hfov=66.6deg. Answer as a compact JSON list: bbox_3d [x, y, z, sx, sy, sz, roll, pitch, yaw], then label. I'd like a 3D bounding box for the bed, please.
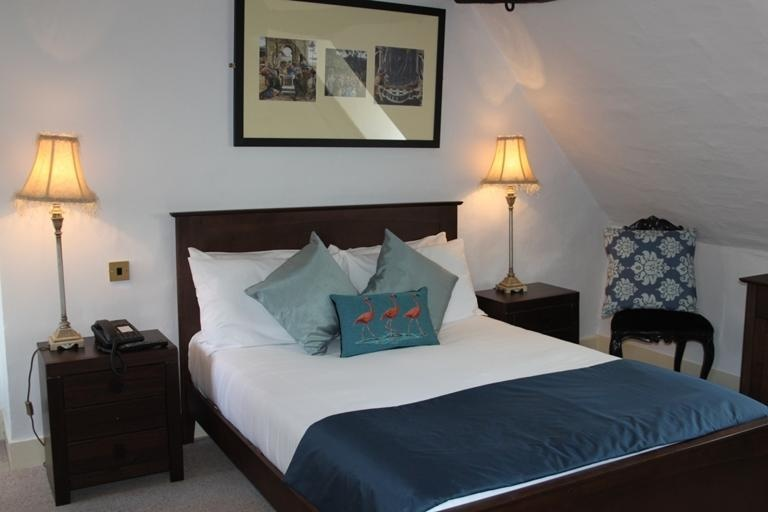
[{"bbox_3d":[0.239,0.464,3.213,1.959,1.558,2.720,-7,7,-36],"label":"bed"}]

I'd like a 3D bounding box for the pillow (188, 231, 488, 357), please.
[{"bbox_3d":[-0.351,0.260,3.599,1.305,0.535,0.154,-5,-10,-23],"label":"pillow"}]

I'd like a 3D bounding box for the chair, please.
[{"bbox_3d":[2.010,0.415,4.352,0.718,1.288,0.729,0,11,18],"label":"chair"}]

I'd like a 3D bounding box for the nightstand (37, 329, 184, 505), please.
[{"bbox_3d":[-1.469,0.778,3.602,1.030,1.137,0.753,-3,3,-30],"label":"nightstand"}]

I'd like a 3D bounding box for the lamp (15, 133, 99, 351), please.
[{"bbox_3d":[-1.816,-0.075,3.325,0.417,1.195,0.347,-4,6,-8],"label":"lamp"}]

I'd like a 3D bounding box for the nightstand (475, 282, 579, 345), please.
[{"bbox_3d":[1.138,0.627,4.673,0.674,0.697,0.488,-7,9,-20],"label":"nightstand"}]
